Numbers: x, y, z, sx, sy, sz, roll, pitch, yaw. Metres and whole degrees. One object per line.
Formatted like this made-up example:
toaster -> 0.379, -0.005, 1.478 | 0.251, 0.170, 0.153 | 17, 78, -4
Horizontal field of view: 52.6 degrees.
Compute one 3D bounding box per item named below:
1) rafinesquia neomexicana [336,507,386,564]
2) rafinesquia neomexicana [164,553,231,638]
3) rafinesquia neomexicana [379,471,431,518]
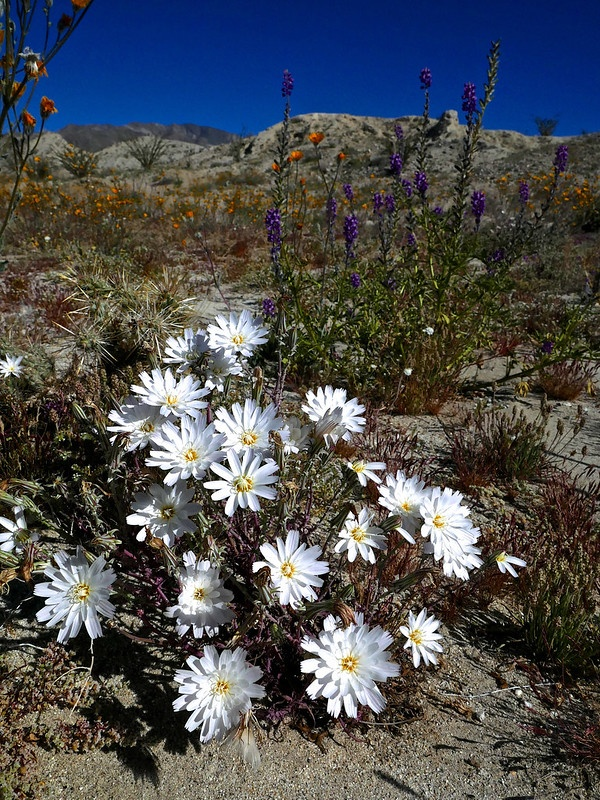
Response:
rafinesquia neomexicana -> 0.165, 0.396, 1.738 | 0.052, 0.156, 0.155 | -15, 34, 52
rafinesquia neomexicana -> -0.259, 0.520, 1.636 | 0.163, 0.191, 0.179 | 3, 14, -6
rafinesquia neomexicana -> 0.294, 0.274, 1.715 | 0.140, 0.137, 0.054 | -5, -15, -22
